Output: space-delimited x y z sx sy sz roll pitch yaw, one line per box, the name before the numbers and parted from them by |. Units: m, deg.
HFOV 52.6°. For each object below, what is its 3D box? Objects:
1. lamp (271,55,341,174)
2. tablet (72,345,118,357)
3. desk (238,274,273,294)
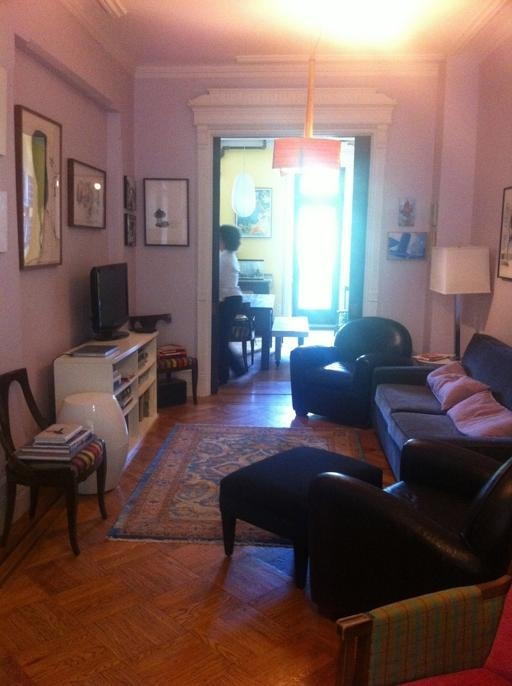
lamp | 0.257 -1.285 2.948 0.395 0.608 0.369 7 9 42
tablet | -1.077 0.053 3.415 0.259 0.034 0.276 1 7 2
desk | -0.007 -1.098 9.867 0.477 0.501 0.349 0 2 2
